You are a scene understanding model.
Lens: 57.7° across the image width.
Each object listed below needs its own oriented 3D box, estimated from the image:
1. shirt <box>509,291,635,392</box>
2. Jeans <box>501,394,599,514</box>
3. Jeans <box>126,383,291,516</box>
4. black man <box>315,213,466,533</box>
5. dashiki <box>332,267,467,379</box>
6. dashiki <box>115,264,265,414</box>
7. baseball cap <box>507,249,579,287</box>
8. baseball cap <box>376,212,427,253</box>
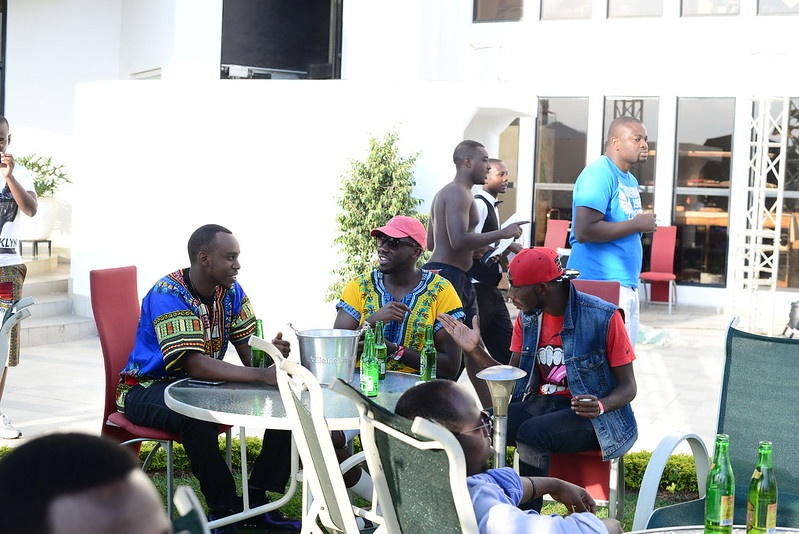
[{"bbox_3d":[0.934,0.257,3.913,0.739,0.524,0.357,1,1,34],"label":"shirt"},{"bbox_3d":[0.840,1.018,3.827,0.538,0.594,0.492,-8,-10,12],"label":"Jeans"},{"bbox_3d":[-1.050,0.941,4.051,0.787,0.495,0.768,-7,20,-30],"label":"Jeans"},{"bbox_3d":[-0.052,0.654,4.351,0.777,1.860,0.628,5,1,-4],"label":"black man"},{"bbox_3d":[0.060,0.245,4.468,1.022,0.790,0.510,3,-1,5],"label":"dashiki"},{"bbox_3d":[-1.226,0.378,4.188,0.591,0.829,0.647,19,15,27],"label":"dashiki"},{"bbox_3d":[0.745,-0.015,3.836,0.295,0.134,0.176,-7,12,-9],"label":"baseball cap"},{"bbox_3d":[0.003,-0.235,4.421,0.370,0.175,0.247,8,-2,-34],"label":"baseball cap"}]
